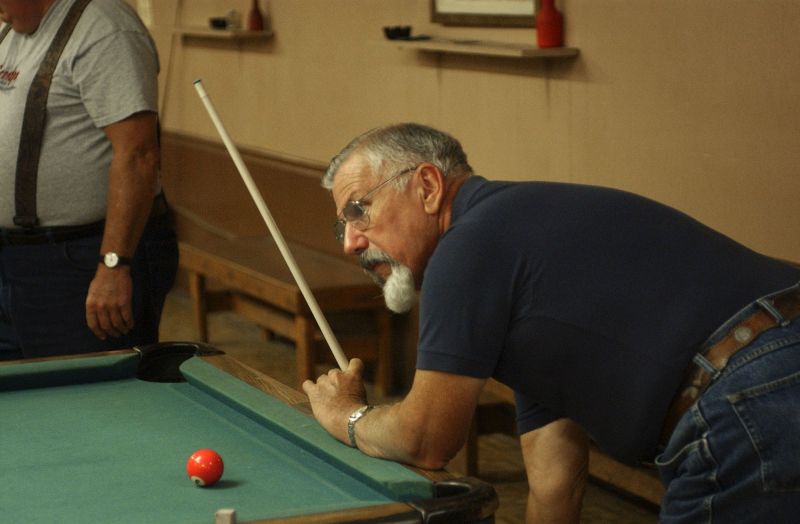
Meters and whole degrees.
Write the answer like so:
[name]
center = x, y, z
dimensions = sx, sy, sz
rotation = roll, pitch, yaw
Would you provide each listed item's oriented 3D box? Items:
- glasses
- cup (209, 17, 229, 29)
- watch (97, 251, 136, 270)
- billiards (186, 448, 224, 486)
[glasses]
center = -0.074, -0.179, 2.548
dimensions = 0.063, 0.215, 0.208
rotation = 48, -13, 0
[cup]
center = -1.314, -1.738, 6.438
dimensions = 0.119, 0.077, 0.117
rotation = 0, 6, 0
[watch]
center = -1.121, -0.006, 3.489
dimensions = 0.092, 0.064, 0.092
rotation = 2, -1, 22
[billiards]
center = -0.549, 0.577, 2.508
dimensions = 0.104, 0.100, 0.087
rotation = 8, 7, -11
